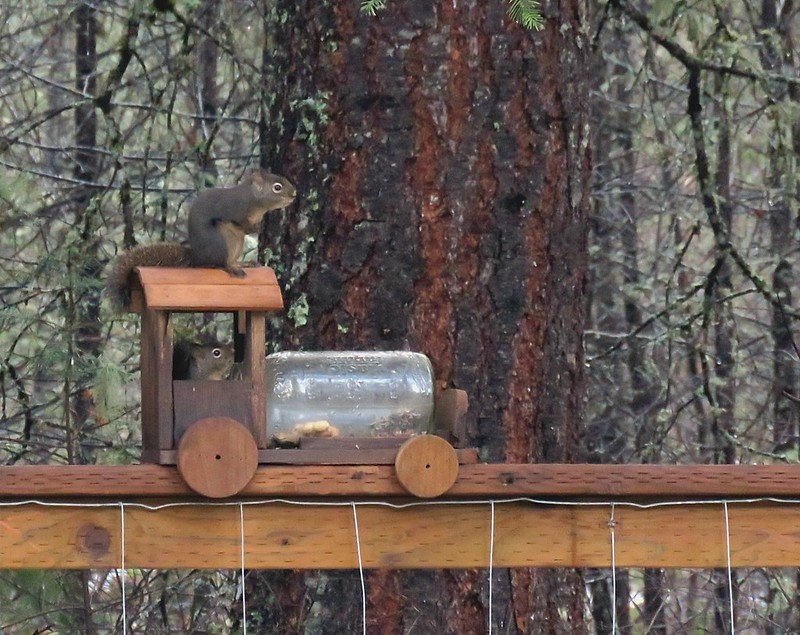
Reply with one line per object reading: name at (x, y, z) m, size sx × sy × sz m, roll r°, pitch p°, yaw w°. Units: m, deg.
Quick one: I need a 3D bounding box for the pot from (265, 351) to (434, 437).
pot at (-0.290, 0.353, 12.343) m, size 0.600 × 0.500 × 0.821 m, roll 0°, pitch 1°, yaw -17°

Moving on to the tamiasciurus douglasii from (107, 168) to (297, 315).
tamiasciurus douglasii at (-1.034, -0.465, 12.521) m, size 0.608 × 0.969 × 0.800 m, roll 5°, pitch 9°, yaw 42°

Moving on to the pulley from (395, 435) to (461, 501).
pulley at (0.120, 0.726, 12.090) m, size 0.328 × 0.303 × 0.085 m, roll 4°, pitch -7°, yaw -1°

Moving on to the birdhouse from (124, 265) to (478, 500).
birdhouse at (-0.543, 0.291, 12.483) m, size 1.559 × 1.299 × 0.986 m, roll -1°, pitch 0°, yaw -15°

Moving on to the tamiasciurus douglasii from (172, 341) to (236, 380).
tamiasciurus douglasii at (-1.055, 0.224, 12.498) m, size 0.196 × 0.096 × 0.224 m, roll -4°, pitch -26°, yaw 10°

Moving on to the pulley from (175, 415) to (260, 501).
pulley at (-0.927, 0.678, 12.054) m, size 0.335 × 0.422 × 0.086 m, roll 6°, pitch -6°, yaw -6°
